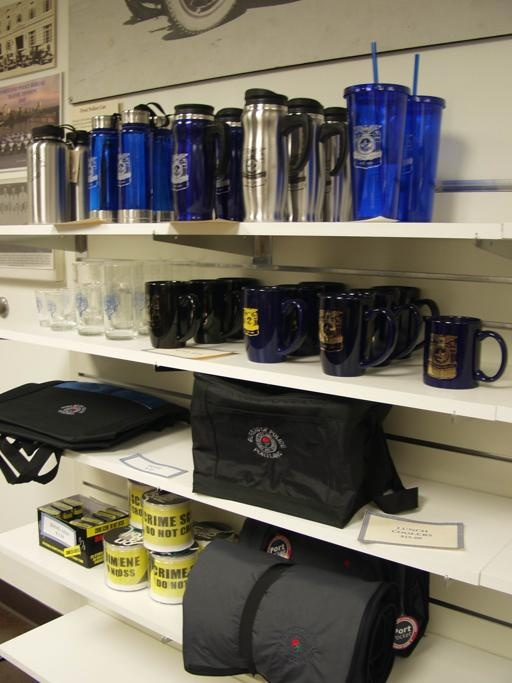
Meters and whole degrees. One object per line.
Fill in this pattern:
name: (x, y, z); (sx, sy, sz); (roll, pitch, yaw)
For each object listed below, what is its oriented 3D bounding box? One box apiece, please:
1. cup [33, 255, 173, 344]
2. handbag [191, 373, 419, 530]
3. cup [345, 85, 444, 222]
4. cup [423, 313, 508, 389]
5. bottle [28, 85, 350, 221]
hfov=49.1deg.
cup: (-0.371, -0.109, 1.307); (0.183, 0.153, 0.317); (-3, 10, -41)
handbag: (0.054, 0.170, 1.010); (0.380, 0.200, 0.172); (4, 10, 30)
cup: (0.210, -0.265, 0.811); (0.165, 0.180, 0.076); (-6, 14, -26)
cup: (0.278, 0.017, 0.784); (0.129, 0.105, 0.076); (2, 4, 10)
bottle: (-0.081, -0.323, 1.007); (0.591, 0.222, 0.172); (9, 16, 32)
